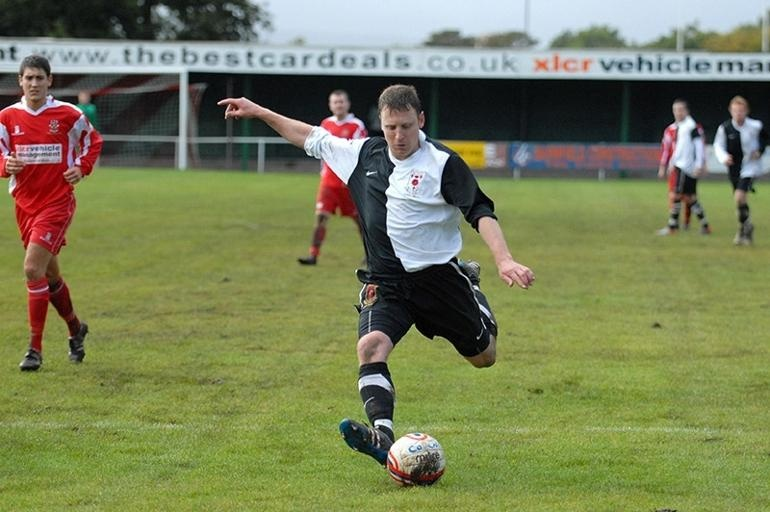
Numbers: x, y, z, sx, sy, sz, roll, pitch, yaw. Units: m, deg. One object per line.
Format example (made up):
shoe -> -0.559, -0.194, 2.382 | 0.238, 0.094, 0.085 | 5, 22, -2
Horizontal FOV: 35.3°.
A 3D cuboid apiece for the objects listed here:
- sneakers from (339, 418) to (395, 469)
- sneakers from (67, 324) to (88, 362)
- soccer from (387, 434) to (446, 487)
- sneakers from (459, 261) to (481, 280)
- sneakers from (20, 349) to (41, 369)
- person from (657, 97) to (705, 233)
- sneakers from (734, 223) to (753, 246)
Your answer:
sneakers -> -0.124, 1.535, 9.859 | 0.475, 0.159, 0.228 | 33, 35, -8
sneakers -> -2.966, 0.852, 11.891 | 0.155, 0.382, 0.221 | 7, -15, 0
soccer -> 0.253, 1.620, 9.902 | 0.471, 0.402, 0.419 | -4, 3, -11
sneakers -> 0.735, 0.126, 10.346 | 0.079, 0.172, 0.151 | -5, -3, 39
sneakers -> -3.359, 0.984, 11.599 | 0.187, 0.200, 0.285 | -1, 7, -9
person -> 3.171, -0.950, 12.741 | 0.522, 1.357, 1.594 | 2, 7, 14
sneakers -> 3.652, -0.207, 12.315 | 0.178, 0.211, 0.156 | 13, -9, 21
